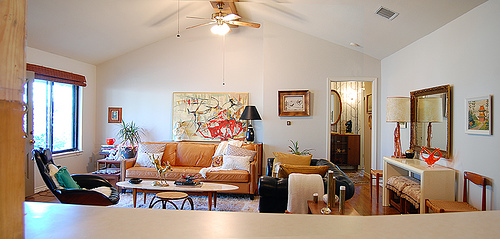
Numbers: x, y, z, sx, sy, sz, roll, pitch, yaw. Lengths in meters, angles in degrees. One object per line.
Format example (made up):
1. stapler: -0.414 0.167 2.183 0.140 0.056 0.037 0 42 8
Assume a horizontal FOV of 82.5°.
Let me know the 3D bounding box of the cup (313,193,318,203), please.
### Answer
1. cup: 1.162 1.403 5.099 0.157 0.156 0.144 -1 1 0

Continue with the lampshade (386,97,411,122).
1. lampshade: 3.659 -0.231 6.701 0.628 0.553 0.620 2 0 39

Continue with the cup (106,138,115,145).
1. cup: -4.086 0.632 8.423 0.207 0.123 0.206 1 -4 0

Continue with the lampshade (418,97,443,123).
1. lampshade: 3.980 -0.218 6.266 0.609 0.507 0.534 0 -7 10

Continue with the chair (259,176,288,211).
1. chair: 0.477 1.359 5.861 0.633 0.597 1.010 2 -6 7

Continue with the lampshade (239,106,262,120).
1. lampshade: 0.005 -0.199 8.011 0.514 0.217 0.420 -1 0 19

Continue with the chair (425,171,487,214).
1. chair: 4.002 1.437 5.574 0.931 0.934 0.508 0 0 -6

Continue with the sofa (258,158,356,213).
1. sofa: 1.117 1.709 5.954 1.189 0.728 1.694 -13 -27 29

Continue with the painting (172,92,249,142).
1. painting: -1.133 -0.080 8.616 0.102 1.472 3.015 -1 -1 41

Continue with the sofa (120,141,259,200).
1. sofa: -1.543 1.332 7.691 3.494 1.279 1.093 0 0 9

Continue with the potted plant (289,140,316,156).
1. potted plant: 1.448 0.780 8.059 0.717 0.404 0.542 0 0 10

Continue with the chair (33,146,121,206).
1. chair: -4.012 1.260 6.537 2.057 1.455 1.556 3 2 -16

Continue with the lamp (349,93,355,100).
1. lamp: 3.585 -0.835 10.076 0.292 0.204 0.060 3 2 11

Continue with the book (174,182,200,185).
1. book: -1.446 1.459 6.518 0.558 0.042 0.094 0 0 12
